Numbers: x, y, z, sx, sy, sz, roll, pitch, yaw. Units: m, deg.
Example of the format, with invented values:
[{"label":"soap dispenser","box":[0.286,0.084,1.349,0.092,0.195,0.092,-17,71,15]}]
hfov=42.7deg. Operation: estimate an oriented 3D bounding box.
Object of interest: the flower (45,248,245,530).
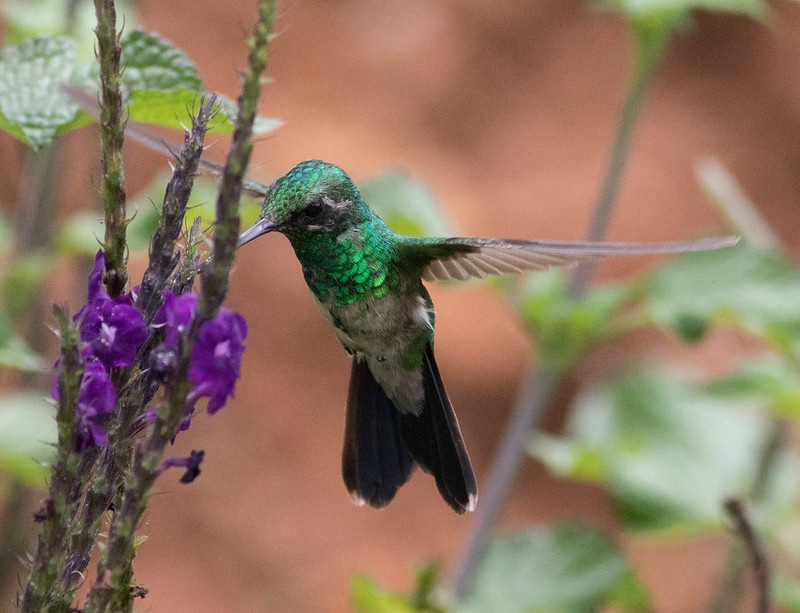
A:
[{"label":"flower","box":[-0.376,0.138,1.649,0.316,0.306,0.196,15,-56,15]}]
